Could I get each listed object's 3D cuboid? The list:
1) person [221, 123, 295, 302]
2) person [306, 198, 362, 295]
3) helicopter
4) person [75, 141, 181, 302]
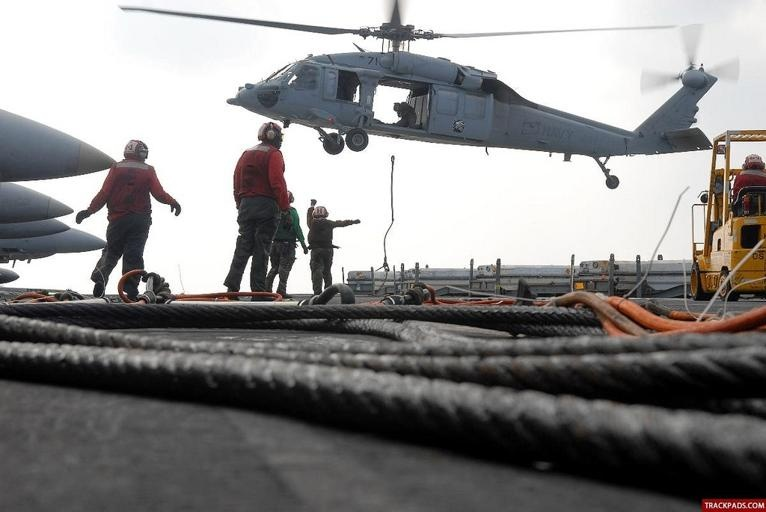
[{"bbox_3d":[-1.073,-0.430,6.058,0.526,1.453,0.786,0,5,-8],"label":"person"},{"bbox_3d":[-0.828,-0.094,10.029,0.489,1.348,1.525,0,5,-7],"label":"person"},{"bbox_3d":[0.883,-2.735,12.771,6.617,1.905,5.389,5,9,-16],"label":"helicopter"},{"bbox_3d":[-2.386,-0.337,6.577,0.814,1.458,0.437,-1,5,-22],"label":"person"}]
